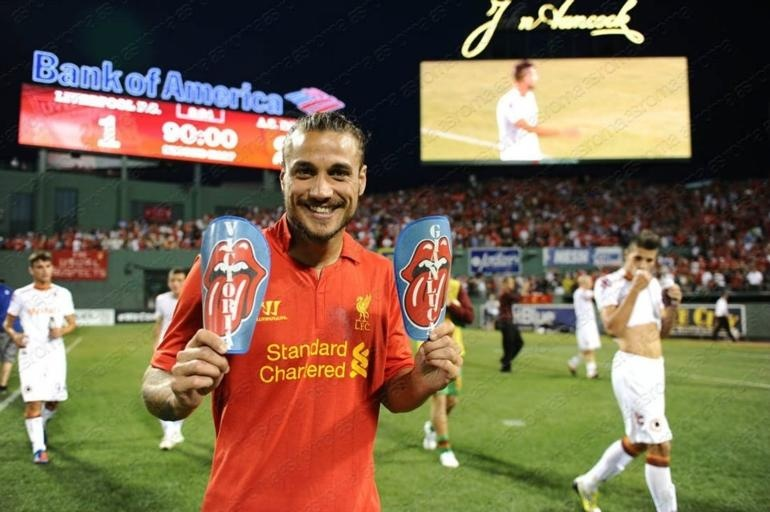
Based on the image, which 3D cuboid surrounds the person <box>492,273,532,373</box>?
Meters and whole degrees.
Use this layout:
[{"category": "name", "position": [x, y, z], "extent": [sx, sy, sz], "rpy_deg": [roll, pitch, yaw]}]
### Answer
[{"category": "person", "position": [1.957, 1.089, 11.881], "extent": [0.395, 1.539, 0.847], "rpy_deg": [1, -2, 9]}]

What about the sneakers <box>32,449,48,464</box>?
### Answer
[{"category": "sneakers", "position": [-4.621, 2.686, 10.172], "extent": [0.195, 0.194, 0.152], "rpy_deg": [2, -2, -26]}]

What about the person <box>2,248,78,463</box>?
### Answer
[{"category": "person", "position": [-4.760, 1.358, 10.369], "extent": [0.865, 2.850, 0.425], "rpy_deg": [1, -2, 7]}]
